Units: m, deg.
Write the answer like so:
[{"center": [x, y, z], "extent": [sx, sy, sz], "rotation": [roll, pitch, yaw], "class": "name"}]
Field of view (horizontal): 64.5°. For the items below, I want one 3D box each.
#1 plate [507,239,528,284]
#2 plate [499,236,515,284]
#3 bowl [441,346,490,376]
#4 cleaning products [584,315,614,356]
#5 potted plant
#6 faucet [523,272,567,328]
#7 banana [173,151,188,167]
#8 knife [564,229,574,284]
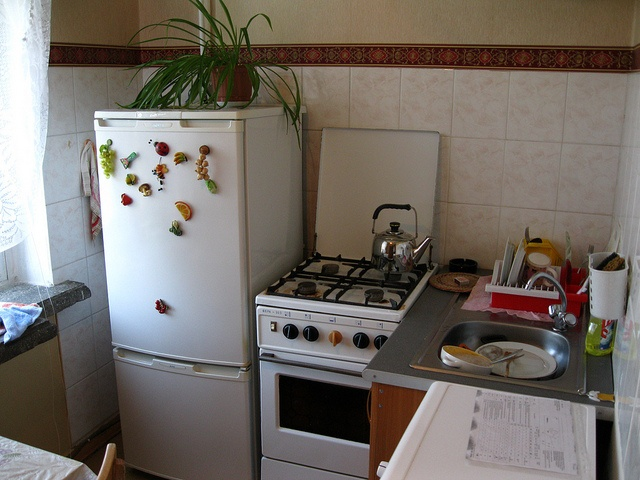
[{"center": [0.871, 0.098, 2.232], "extent": [0.129, 0.199, 0.048], "rotation": [-12, 21, -43], "class": "plate"}, {"center": [0.827, 0.092, 2.247], "extent": [0.036, 0.164, 0.155], "rotation": [5, 17, 18], "class": "plate"}, {"center": [0.539, 0.446, 1.876], "extent": [0.189, 0.058, 0.119], "rotation": [8, 17, 15], "class": "bowl"}, {"center": [1.037, 0.350, 1.872], "extent": [0.093, 0.158, 0.069], "rotation": [8, 16, 17], "class": "cleaning products"}, {"center": [-0.538, -0.889, 2.666], "extent": [0.831, 0.679, 0.875], "rotation": [-2, 19, -9], "class": "potted plant"}, {"center": [0.934, 0.229, 2.079], "extent": [0.183, 0.239, 0.209], "rotation": [10, 17, 24], "class": "faucet"}, {"center": [-0.631, -0.369, 2.259], "extent": [0.047, 0.051, 0.016], "rotation": [-22, 6, 6], "class": "banana"}, {"center": [1.173, 0.073, 2.394], "extent": [0.032, 0.251, 0.034], "rotation": [6, -2, 17], "class": "knife"}]
